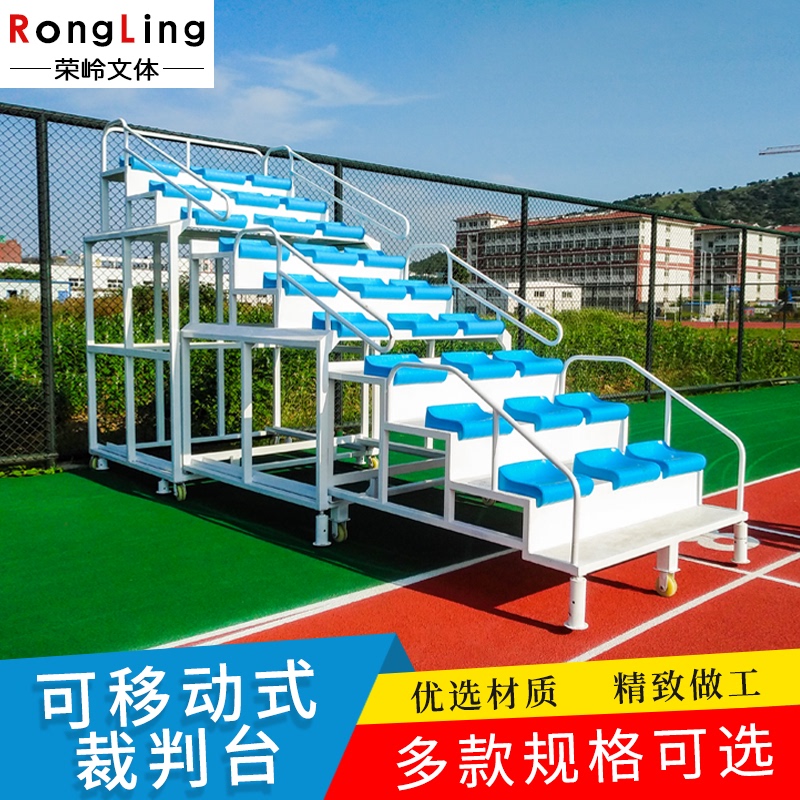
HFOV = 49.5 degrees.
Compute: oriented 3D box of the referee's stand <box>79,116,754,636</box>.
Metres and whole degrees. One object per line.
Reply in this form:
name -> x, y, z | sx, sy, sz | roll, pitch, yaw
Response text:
referee's stand -> -0.032, -0.571, 8.029 | 6.856, 4.233, 3.219 | 7, 9, 40
